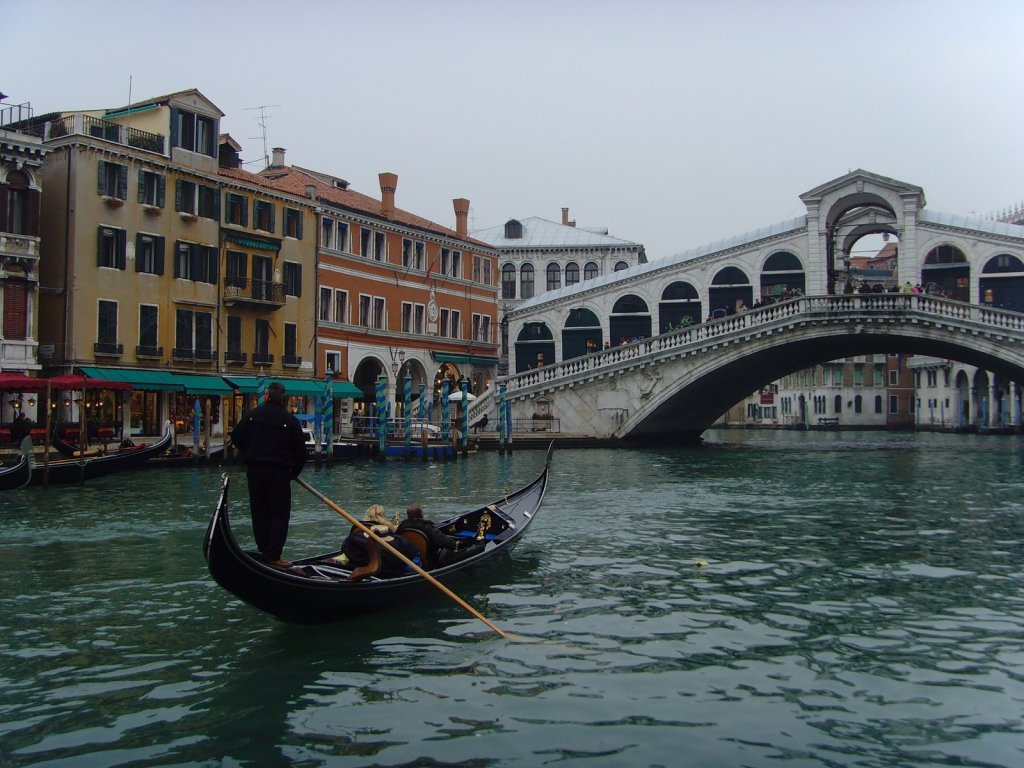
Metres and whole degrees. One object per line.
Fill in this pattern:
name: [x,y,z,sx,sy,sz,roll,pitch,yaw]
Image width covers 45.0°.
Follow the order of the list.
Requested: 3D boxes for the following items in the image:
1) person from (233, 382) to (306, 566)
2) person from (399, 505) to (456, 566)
person: [-3.307,1.221,16.713,0.979,2.440,0.677,1,3,-3]
person: [-1.222,2.293,18.227,0.781,0.947,1.024,2,4,34]
